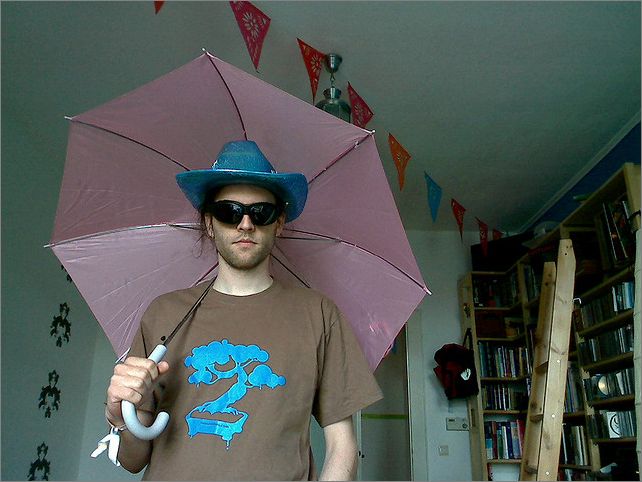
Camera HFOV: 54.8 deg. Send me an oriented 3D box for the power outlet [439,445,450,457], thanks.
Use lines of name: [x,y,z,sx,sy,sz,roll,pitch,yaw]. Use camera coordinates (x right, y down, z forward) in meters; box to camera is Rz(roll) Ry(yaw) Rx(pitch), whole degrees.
power outlet: [1.185,2.012,5.949,0.108,0.091,0.016,-3,-22,6]

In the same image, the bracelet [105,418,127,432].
bracelet: [-0.791,0.725,2.437,0.056,0.063,0.017,4,23,16]

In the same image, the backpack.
backpack: [1.325,1.205,6.153,0.435,0.773,0.518,2,-24,-9]

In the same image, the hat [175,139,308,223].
hat: [-0.377,-0.287,2.824,0.577,0.275,0.644,-12,-7,-22]

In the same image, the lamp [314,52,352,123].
lamp: [0.057,-0.938,3.999,0.180,0.485,0.187,10,21,31]
